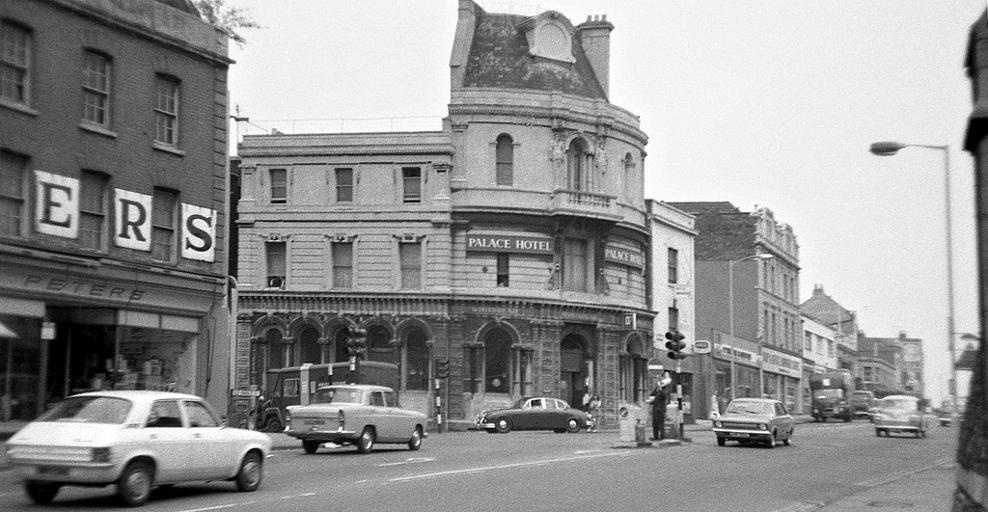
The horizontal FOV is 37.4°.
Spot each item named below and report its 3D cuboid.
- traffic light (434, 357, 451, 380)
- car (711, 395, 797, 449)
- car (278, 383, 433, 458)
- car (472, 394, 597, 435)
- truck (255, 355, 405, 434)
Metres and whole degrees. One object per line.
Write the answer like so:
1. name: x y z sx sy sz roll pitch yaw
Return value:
1. traffic light: -3.007 6.686 86.160 0.936 1.274 0.370 2 -16 -4
2. car: 13.042 8.242 71.640 3.886 2.489 2.062 10 -17 -30
3. car: -5.820 7.179 65.085 3.623 2.690 7.901 -1 -5 16
4. car: 2.344 8.918 81.900 5.753 1.487 2.366 3 -11 -11
5. truck: -9.005 7.276 76.358 3.969 3.258 9.758 -3 -5 26
